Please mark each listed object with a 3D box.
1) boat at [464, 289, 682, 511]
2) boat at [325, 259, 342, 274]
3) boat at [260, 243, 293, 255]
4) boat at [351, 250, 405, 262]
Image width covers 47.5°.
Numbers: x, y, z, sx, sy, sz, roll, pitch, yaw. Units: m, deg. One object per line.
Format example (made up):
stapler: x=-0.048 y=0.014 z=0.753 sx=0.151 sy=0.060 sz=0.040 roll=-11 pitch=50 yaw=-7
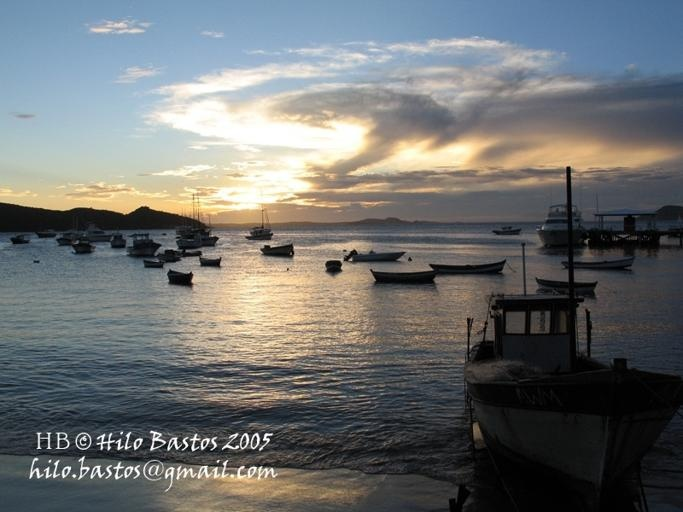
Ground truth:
boat: x=6.887 y=4.605 z=24.569 sx=3.767 sy=6.437 sz=5.450 roll=-7 pitch=9 yaw=-34
boat: x=-0.758 y=1.111 z=81.922 sx=1.867 sy=1.068 sz=3.706 roll=1 pitch=2 yaw=4
boat: x=-9.100 y=-0.925 z=113.677 sx=3.715 sy=1.588 sz=5.148 roll=-3 pitch=6 yaw=-17
boat: x=3.341 y=0.095 z=96.718 sx=8.955 sy=1.286 sz=2.104 roll=-2 pitch=1 yaw=-3
